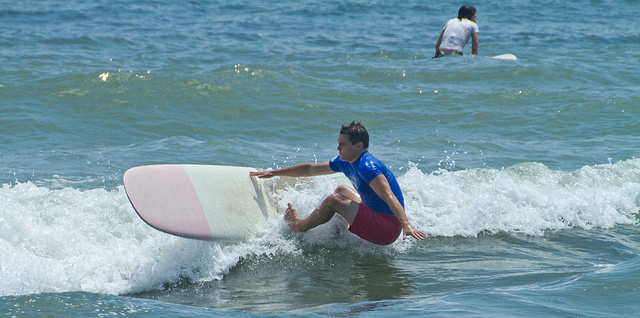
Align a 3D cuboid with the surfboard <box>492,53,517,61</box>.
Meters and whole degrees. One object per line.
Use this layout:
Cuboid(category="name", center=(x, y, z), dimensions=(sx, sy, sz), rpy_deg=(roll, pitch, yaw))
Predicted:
Cuboid(category="surfboard", center=(5.640, -3.107, 30.288), dimensions=(0.130, 0.218, 0.912), rpy_deg=(-29, -19, 37))
